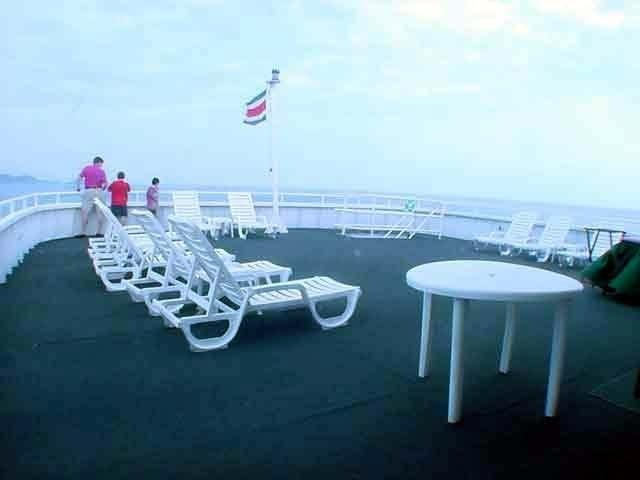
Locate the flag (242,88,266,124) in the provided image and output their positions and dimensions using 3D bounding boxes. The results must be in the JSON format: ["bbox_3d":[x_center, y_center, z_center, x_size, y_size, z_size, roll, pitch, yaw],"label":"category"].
[{"bbox_3d":[-1.685,-3.507,14.066,0.601,1.042,0.824,-3,25,-7],"label":"flag"}]

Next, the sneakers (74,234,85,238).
[{"bbox_3d":[-5.443,-0.099,12.061,0.209,0.090,0.078,2,2,-4],"label":"sneakers"}]
